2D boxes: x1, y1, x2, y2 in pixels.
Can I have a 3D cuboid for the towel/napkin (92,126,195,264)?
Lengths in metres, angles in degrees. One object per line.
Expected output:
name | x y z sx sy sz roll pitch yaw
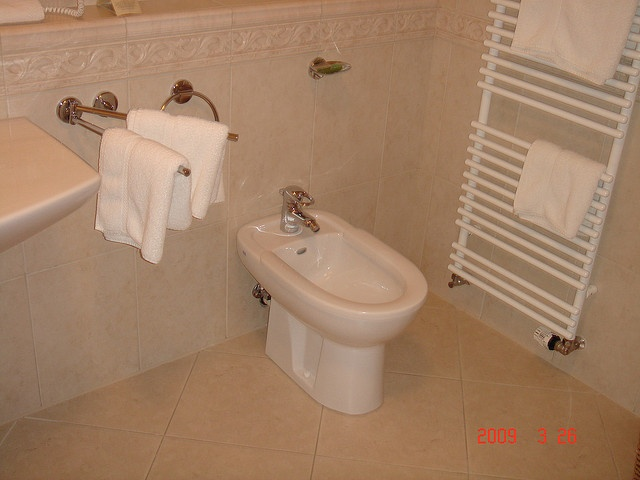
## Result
towel/napkin | -0.512 -0.144 1.544 0.266 0.320 0.175 30 42 18

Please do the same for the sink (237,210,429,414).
sink | 0.046 0.243 2.190 0.533 0.582 0.842 -21 40 -33

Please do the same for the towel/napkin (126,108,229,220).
towel/napkin | -0.403 -0.188 1.638 0.204 0.162 0.088 35 28 22

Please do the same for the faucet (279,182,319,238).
faucet | -0.079 -0.100 2.028 0.075 0.165 0.187 -13 28 -42

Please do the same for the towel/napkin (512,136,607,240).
towel/napkin | 0.836 -0.184 1.943 0.101 0.260 0.270 -20 38 -29
